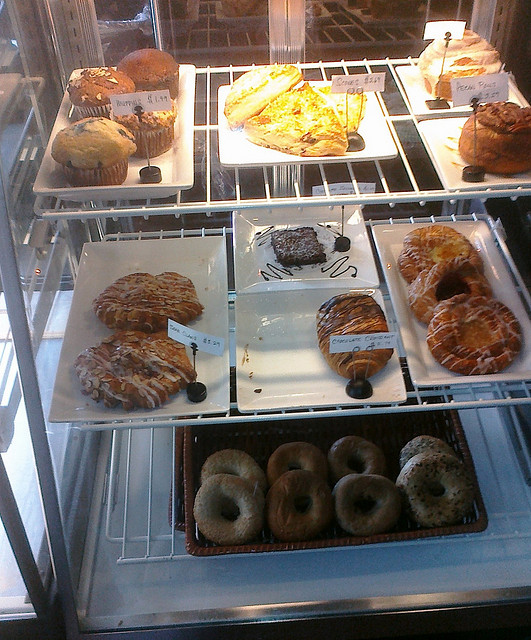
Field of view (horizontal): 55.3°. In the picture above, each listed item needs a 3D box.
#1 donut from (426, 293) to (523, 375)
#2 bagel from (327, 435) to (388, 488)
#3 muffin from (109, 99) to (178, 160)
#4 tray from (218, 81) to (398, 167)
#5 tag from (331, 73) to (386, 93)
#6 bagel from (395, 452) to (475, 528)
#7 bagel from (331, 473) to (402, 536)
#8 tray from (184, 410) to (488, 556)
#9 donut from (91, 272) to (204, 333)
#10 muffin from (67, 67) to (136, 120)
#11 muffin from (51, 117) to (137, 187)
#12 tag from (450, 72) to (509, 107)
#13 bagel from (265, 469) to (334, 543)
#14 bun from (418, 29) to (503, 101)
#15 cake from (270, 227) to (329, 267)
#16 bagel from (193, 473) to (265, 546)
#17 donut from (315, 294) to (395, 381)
[{"bbox_3d":[0.437,0.036,1.123,0.173,0.061,0.186,-35,57,-22],"label":"donut"},{"bbox_3d":[0.243,0.376,1.384,0.140,0.050,0.133,27,76,1],"label":"bagel"},{"bbox_3d":[-0.220,-0.380,1.020,0.094,0.100,0.141,32,53,32],"label":"muffin"},{"bbox_3d":[0.082,-0.414,1.069,0.277,0.119,0.290,-1,42,2],"label":"tray"},{"bbox_3d":[0.183,-0.474,1.016,0.105,0.050,0.058,-1,44,2],"label":"tag"},{"bbox_3d":[0.424,0.424,1.257,0.186,0.064,0.172,-11,70,0],"label":"bagel"},{"bbox_3d":[0.247,0.454,1.246,0.151,0.054,0.147,34,69,17],"label":"bagel"},{"bbox_3d":[0.147,0.435,1.369,0.748,0.094,0.444,-4,34,-4],"label":"tray"},{"bbox_3d":[-0.271,-0.042,1.192,0.185,0.050,0.170,-13,42,-22],"label":"donut"},{"bbox_3d":[-0.351,-0.479,1.111,0.133,0.099,0.143,-3,47,-4],"label":"muffin"},{"bbox_3d":[-0.333,-0.327,0.975,0.159,0.112,0.148,-15,50,-27],"label":"muffin"},{"bbox_3d":[0.393,-0.426,0.939,0.120,0.061,0.089,4,31,19],"label":"tag"},{"bbox_3d":[0.063,0.450,1.286,0.202,0.158,0.187,-8,35,-10],"label":"bagel"},{"bbox_3d":[0.458,-0.606,1.228,0.219,0.112,0.265,-1,53,8],"label":"bun"},{"bbox_3d":[0.093,-0.197,1.386,0.144,0.043,0.132,-5,43,-3],"label":"cake"},{"bbox_3d":[-0.087,0.454,1.239,0.176,0.061,0.162,3,71,3],"label":"bagel"},{"bbox_3d":[0.201,0.033,1.172,0.158,0.082,0.248,-12,41,7],"label":"donut"}]
